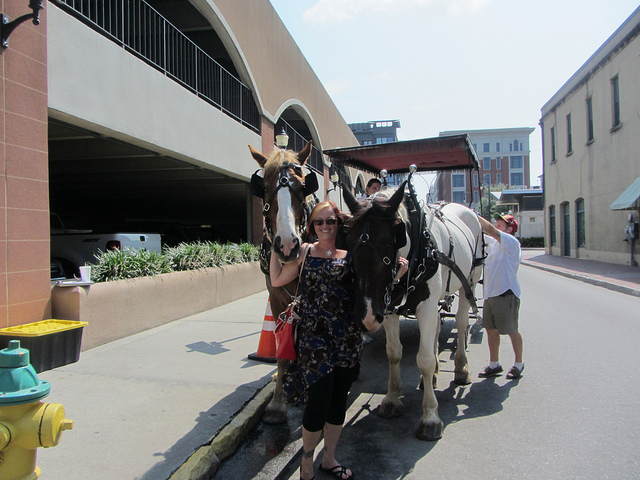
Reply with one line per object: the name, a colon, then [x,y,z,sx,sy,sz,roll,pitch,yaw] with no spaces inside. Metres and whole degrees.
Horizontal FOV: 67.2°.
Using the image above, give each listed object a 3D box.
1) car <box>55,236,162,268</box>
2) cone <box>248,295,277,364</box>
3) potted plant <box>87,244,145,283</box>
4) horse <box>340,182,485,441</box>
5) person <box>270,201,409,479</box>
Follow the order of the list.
car: [-4.476,0.153,10.292,1.583,0.901,1.016,0,-3,16]
cone: [-0.820,1.415,7.906,0.642,0.961,0.699,4,-14,-6]
potted plant: [-3.902,0.452,9.292,0.748,0.515,0.770,-2,8,-33]
horse: [1.571,0.843,7.142,1.015,3.323,4.113,2,5,33]
person: [0.015,1.121,5.384,0.908,2.669,0.547,-4,-1,-6]
